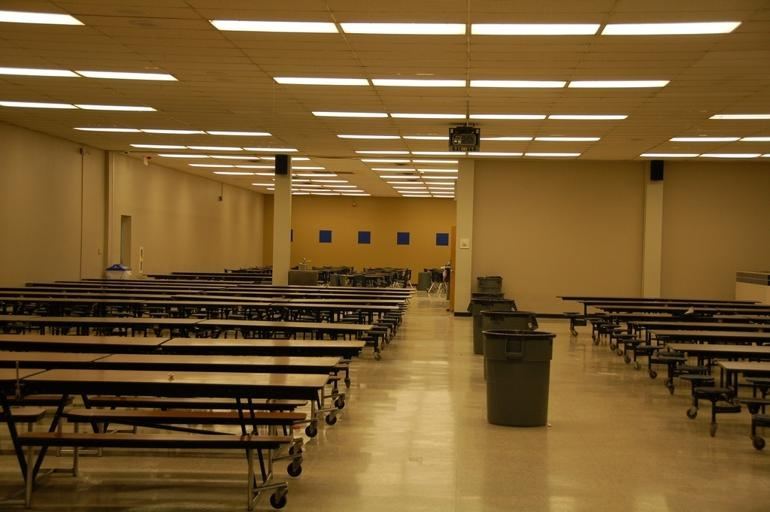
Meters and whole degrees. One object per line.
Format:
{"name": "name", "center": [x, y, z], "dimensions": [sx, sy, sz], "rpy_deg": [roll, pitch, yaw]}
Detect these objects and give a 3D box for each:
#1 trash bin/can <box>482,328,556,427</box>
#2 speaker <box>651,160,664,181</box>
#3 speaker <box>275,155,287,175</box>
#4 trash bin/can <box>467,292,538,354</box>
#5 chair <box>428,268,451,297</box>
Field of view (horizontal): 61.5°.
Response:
{"name": "trash bin/can", "center": [1.544, 1.419, 7.835], "dimensions": [1.061, 1.004, 0.979], "rpy_deg": [1, -2, -20]}
{"name": "speaker", "center": [6.996, -2.192, 16.711], "dimensions": [0.334, 0.547, 0.094], "rpy_deg": [3, 10, 2]}
{"name": "speaker", "center": [-2.731, -2.426, 17.294], "dimensions": [0.365, 0.561, 0.178], "rpy_deg": [0, 10, -14]}
{"name": "trash bin/can", "center": [1.884, 1.032, 10.260], "dimensions": [1.069, 0.758, 1.002], "rpy_deg": [1, -8, 3]}
{"name": "chair", "center": [2.135, 1.029, 24.943], "dimensions": [0.965, 1.178, 0.960], "rpy_deg": [3, 11, 20]}
